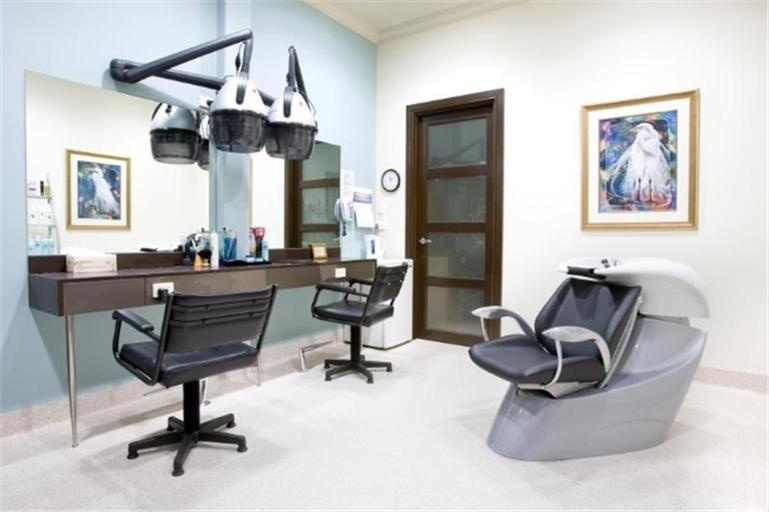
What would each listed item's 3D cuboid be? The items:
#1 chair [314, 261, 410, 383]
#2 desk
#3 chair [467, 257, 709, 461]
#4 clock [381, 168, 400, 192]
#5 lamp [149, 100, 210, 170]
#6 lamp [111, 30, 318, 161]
[{"bbox_3d":[-0.236,0.611,5.199,0.936,1.042,0.926,0,1,-8],"label":"chair"},{"bbox_3d":[-1.156,0.560,4.559,2.705,1.196,0.787,-5,-5,-15],"label":"desk"},{"bbox_3d":[1.562,0.716,4.240,1.630,1.343,1.156,-1,3,-17],"label":"chair"},{"bbox_3d":[0.069,-0.888,6.382,0.270,0.273,0.064,4,9,40],"label":"clock"},{"bbox_3d":[-1.847,-1.103,4.828,0.439,0.567,0.602,-2,3,9],"label":"lamp"},{"bbox_3d":[-1.294,-1.369,4.702,1.129,0.902,1.791,0,2,33],"label":"lamp"}]
